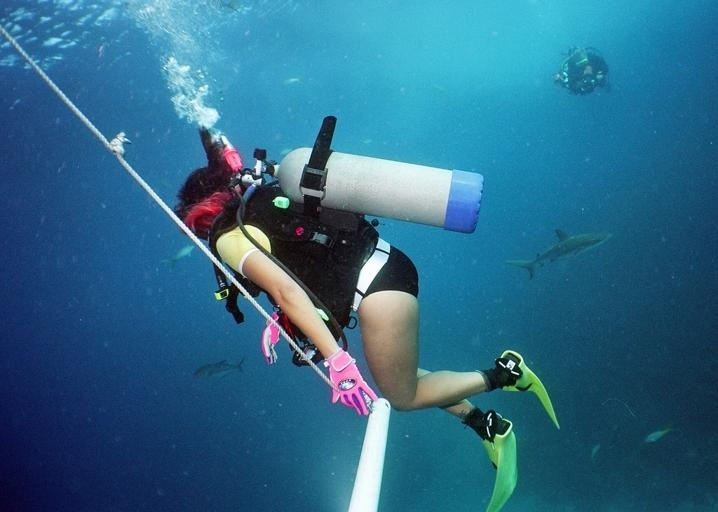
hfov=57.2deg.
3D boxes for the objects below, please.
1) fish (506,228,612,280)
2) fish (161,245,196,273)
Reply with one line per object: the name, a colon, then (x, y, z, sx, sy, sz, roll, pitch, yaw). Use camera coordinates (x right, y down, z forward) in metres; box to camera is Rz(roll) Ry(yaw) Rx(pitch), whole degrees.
fish: (3.862, -0.145, 12.819, 1.985, 0.707, 0.392, -21, 8, 6)
fish: (-3.370, -0.011, 12.109, 0.747, 0.365, 0.150, -24, 11, 28)
